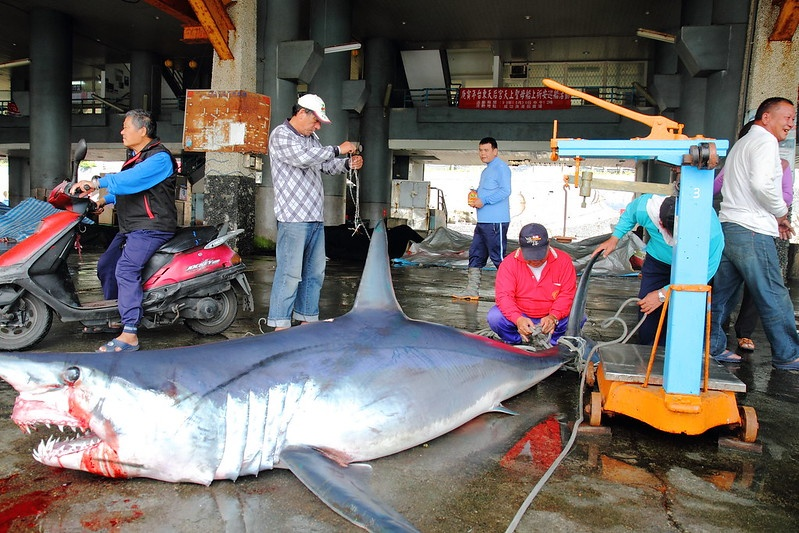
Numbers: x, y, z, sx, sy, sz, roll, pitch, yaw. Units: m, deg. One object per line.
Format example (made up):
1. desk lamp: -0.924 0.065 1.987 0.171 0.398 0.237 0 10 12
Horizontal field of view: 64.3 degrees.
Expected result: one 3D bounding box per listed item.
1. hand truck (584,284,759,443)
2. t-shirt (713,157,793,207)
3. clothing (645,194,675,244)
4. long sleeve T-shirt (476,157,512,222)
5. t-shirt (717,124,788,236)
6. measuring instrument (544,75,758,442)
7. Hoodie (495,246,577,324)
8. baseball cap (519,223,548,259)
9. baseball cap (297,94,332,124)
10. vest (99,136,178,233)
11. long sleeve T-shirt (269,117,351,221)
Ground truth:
1. hand truck: 1.761 0.529 4.160 0.908 0.904 1.238 5 4 15
2. t-shirt: 2.558 -0.613 4.632 0.501 0.472 0.264 4 8 38
3. clothing: 1.851 -0.368 4.593 0.162 0.362 0.277 -13 47 12
4. long sleeve T-shirt: 1.046 -0.883 7.365 0.415 0.761 0.620 -4 10 -18
5. t-shirt: 2.656 -0.654 4.761 0.468 0.801 0.667 1 15 5
6. measuring instrument: 1.339 -0.040 3.763 1.448 2.057 0.905 8 -9 -3
7. Hoodie: 0.999 0.177 4.694 0.576 0.499 0.728 8 30 18
8. baseball cap: 0.948 -0.166 4.536 0.178 0.143 0.275 -1 45 8
9. baseball cap: -0.689 -1.255 5.007 0.232 0.214 0.388 1 9 -9
10. vest: -2.101 -0.579 4.819 0.580 0.712 0.421 -5 8 -17
11. long sleeve T-shirt: -0.747 -0.740 5.166 0.768 1.004 0.702 -1 3 10
